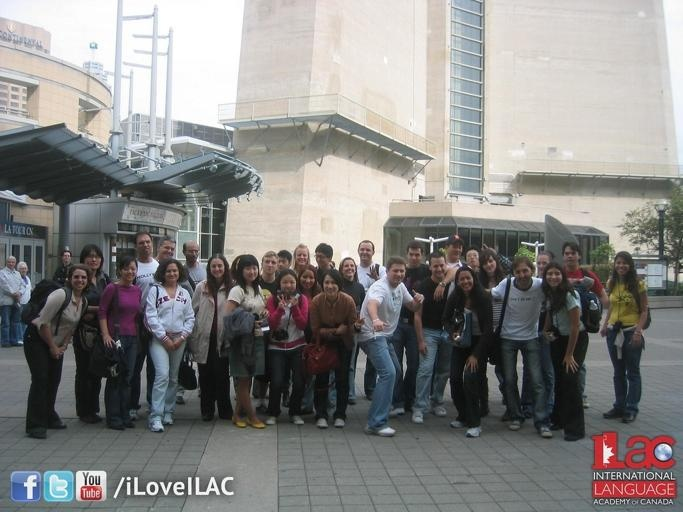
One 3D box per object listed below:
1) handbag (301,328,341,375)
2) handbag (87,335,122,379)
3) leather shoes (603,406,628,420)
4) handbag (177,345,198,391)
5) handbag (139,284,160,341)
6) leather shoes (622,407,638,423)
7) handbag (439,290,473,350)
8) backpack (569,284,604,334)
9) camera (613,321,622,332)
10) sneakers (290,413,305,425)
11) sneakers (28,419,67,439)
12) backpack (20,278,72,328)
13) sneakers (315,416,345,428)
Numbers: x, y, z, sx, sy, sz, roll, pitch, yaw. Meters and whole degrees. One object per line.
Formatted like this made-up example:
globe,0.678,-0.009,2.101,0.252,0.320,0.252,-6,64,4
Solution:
handbag,-0.280,1.431,9.161,0.618,0.711,0.445,-13,-15,4
handbag,-3.167,1.340,8.698,0.450,0.620,0.326,3,-31,-8
leather shoes,3.993,2.320,9.524,0.330,0.150,0.123,0,-3,-5
handbag,-2.213,1.608,9.314,0.271,0.647,0.293,-1,4,-24
handbag,-2.666,0.764,8.988,0.221,0.663,0.462,9,-10,-44
leather shoes,4.111,2.283,9.274,0.107,0.121,0.299,2,6,25
handbag,1.606,0.881,9.060,0.391,0.792,0.232,2,3,18
backpack,3.467,0.752,9.277,0.623,0.681,0.474,2,3,12
camera,4.101,1.051,9.674,0.100,0.180,0.144,-4,-5,9
sneakers,-0.623,2.329,9.221,0.181,0.112,0.165,0,4,-4
sneakers,-3.869,2.272,8.450,0.394,0.174,0.127,-25,-26,39
backpack,-3.806,0.652,8.600,0.648,0.663,0.458,15,-23,-17
sneakers,-0.157,2.342,9.156,0.408,0.114,0.245,0,4,-9
